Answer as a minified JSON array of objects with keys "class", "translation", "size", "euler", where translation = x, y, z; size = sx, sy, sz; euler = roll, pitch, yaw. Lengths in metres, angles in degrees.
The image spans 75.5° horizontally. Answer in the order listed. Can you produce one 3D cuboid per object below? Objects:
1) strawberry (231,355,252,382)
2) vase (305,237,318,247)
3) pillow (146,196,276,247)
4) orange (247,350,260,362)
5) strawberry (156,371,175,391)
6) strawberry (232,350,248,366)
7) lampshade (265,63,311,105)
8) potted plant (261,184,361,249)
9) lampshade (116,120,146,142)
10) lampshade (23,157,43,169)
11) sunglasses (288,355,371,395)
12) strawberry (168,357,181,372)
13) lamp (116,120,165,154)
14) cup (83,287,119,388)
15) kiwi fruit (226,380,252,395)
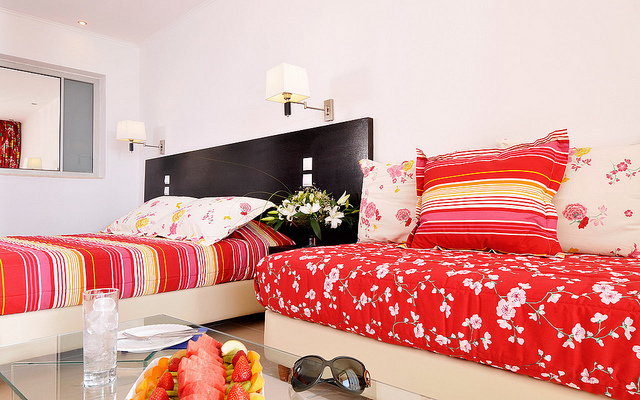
[{"class":"strawberry","translation":[-0.255,0.547,1.364],"size":[0.070,0.084,0.067],"euler":[2,0,-28]},{"class":"vase","translation":[-0.063,0.311,3.065],"size":[0.084,0.072,0.083],"euler":[1,4,-43]},{"class":"pillow","translation":[-0.902,0.159,3.326],"size":[0.932,0.370,0.546],"euler":[-1,-2,35]},{"class":"orange","translation":[-0.230,0.545,1.448],"size":[0.038,0.032,0.035],"euler":[1,-6,1]},{"class":"strawberry","translation":[-0.491,0.578,1.323],"size":[0.052,0.054,0.039],"euler":[1,-1,-22]},{"class":"strawberry","translation":[-0.274,0.536,1.408],"size":[0.050,0.014,0.049],"euler":[-31,-10,25]},{"class":"lampshade","translation":[-0.249,-0.907,3.320],"size":[0.359,0.275,0.348],"euler":[3,-6,-36]},{"class":"potted plant","translation":[-0.023,0.155,3.194],"size":[0.736,0.433,0.753],"euler":[2,12,27]},{"class":"lampshade","translation":[-2.204,-0.782,4.853],"size":[0.275,0.197,0.279],"euler":[0,-1,44]},{"class":"lampshade","translation":[-3.259,-0.418,4.705],"size":[0.139,0.117,0.136],"euler":[5,-8,-42]},{"class":"sunglasses","translation":[0.027,0.615,1.452],"size":[0.298,0.124,0.049],"euler":[0,-1,14]},{"class":"strawberry","translation":[-0.477,0.543,1.363],"size":[0.033,0.036,0.029],"euler":[12,-34,15]},{"class":"lamp","translation":[-2.156,-0.783,4.959],"size":[0.539,0.402,0.412],"euler":[1,-2,-36]},{"class":"cup","translation":[-0.828,0.516,1.565],"size":[0.114,0.362,0.083],"euler":[1,-1,-23]},{"class":"kiwi fruit","translation":[-0.261,0.591,1.322],"size":[0.040,0.028,0.051],"euler":[7,5,27]}]
